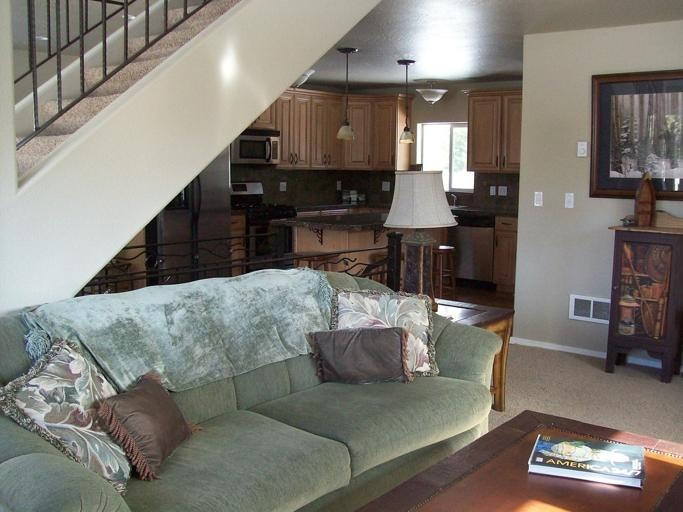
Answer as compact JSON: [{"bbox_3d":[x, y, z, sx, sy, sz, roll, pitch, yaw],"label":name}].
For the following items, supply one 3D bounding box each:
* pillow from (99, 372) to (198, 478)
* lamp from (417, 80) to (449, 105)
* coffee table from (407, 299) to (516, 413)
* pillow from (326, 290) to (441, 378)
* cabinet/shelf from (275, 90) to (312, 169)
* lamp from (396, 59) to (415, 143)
[{"bbox_3d":[-0.741,0.637,2.130,0.107,0.261,0.377,-36,-5,13],"label":"pillow"},{"bbox_3d":[1.358,-2.404,8.158,0.439,0.317,0.428,-4,9,-37],"label":"lamp"},{"bbox_3d":[0.819,0.640,3.784,0.777,0.752,0.701,4,9,34],"label":"coffee table"},{"bbox_3d":[0.239,0.430,3.212,0.498,0.149,0.495,3,43,-2],"label":"pillow"},{"bbox_3d":[-0.678,-1.863,8.177,0.160,1.097,0.595,7,12,44],"label":"cabinet/shelf"},{"bbox_3d":[0.824,-1.926,7.037,0.266,0.988,0.292,-3,9,-2],"label":"lamp"}]
